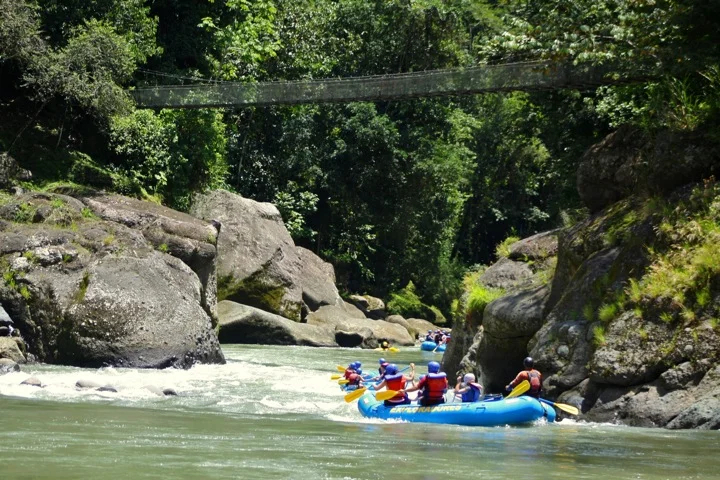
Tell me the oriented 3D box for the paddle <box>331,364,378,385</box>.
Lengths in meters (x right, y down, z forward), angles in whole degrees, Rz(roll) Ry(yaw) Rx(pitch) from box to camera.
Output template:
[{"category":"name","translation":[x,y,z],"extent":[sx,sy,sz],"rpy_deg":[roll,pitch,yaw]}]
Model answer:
[{"category":"paddle","translation":[-0.298,4.074,38.537],"extent":[0.794,0.315,0.664],"rpy_deg":[23,-19,-13]}]

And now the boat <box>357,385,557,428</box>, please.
[{"category":"boat","translation":[2.610,4.659,34.220],"extent":[4.177,0.830,1.938],"rpy_deg":[0,14,1]}]
